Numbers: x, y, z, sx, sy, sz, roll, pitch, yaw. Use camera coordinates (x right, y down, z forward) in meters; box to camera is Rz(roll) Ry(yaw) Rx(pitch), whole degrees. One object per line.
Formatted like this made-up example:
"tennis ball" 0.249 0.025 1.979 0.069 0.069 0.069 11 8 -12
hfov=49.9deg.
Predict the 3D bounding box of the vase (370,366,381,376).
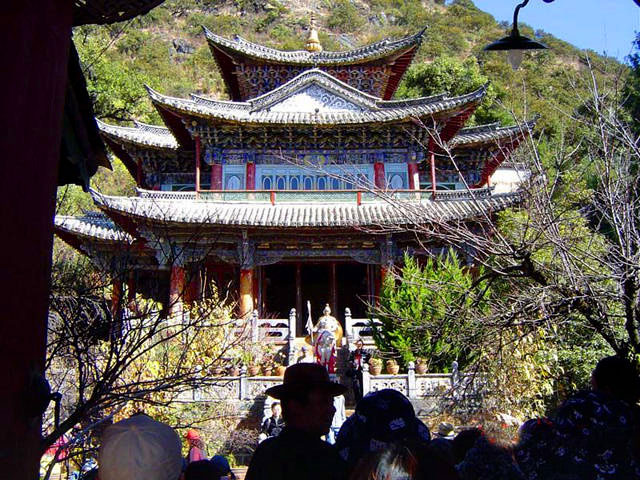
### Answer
"vase" 1.129 2.676 14.133 0.173 0.127 0.186 -1 -31 -4

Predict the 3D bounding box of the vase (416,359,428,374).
"vase" 2.051 2.581 14.074 0.303 0.257 0.323 -1 -18 0

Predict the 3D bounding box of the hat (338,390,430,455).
"hat" 0.391 1.324 4.905 0.569 0.344 0.425 -13 -12 22

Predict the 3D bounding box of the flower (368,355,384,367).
"flower" 1.140 2.537 14.313 0.221 0.167 0.235 -1 -14 9

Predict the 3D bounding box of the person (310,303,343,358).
"person" 0.139 2.231 16.941 0.871 1.424 0.758 -3 -29 7

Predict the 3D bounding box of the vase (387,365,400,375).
"vase" 1.485 2.675 14.180 0.191 0.158 0.203 0 -21 -2
